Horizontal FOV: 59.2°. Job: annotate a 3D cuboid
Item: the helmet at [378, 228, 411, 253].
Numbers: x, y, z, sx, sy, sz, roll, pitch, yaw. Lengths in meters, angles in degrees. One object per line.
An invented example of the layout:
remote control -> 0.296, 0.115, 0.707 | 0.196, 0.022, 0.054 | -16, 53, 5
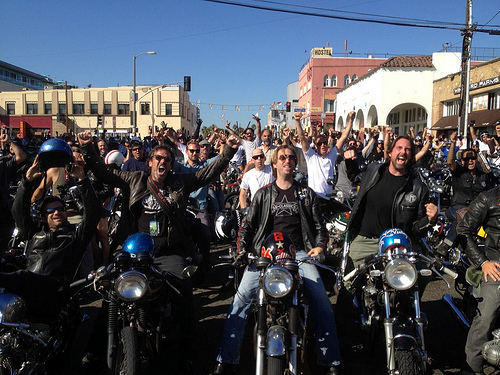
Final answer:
helmet -> 1.463, 0.517, 4.432 | 0.197, 0.250, 0.276 | 6, -3, 1

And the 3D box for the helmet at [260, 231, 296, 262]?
helmet -> 0.268, 0.600, 4.325 | 0.203, 0.319, 0.254 | 5, -26, 0

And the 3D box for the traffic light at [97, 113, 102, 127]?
traffic light -> -23.552, -10.518, 68.995 | 1.212, 1.823, 0.538 | 4, 8, 26

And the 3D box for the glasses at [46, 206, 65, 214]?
glasses -> -2.208, 0.254, 5.001 | 0.194, 0.080, 0.072 | -4, 9, -24

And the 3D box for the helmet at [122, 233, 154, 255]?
helmet -> -1.108, 0.560, 4.349 | 0.185, 0.239, 0.254 | 9, 25, 26

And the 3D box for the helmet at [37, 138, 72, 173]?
helmet -> -2.228, -0.373, 4.970 | 0.474, 0.367, 0.281 | 5, 9, 28

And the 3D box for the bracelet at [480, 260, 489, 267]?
bracelet -> 2.490, 0.806, 4.677 | 0.023, 0.067, 0.059 | 40, 22, 15

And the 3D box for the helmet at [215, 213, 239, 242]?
helmet -> -0.276, 0.587, 6.690 | 0.292, 0.478, 0.423 | 3, 1, 28

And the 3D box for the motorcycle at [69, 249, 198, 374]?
motorcycle -> -1.204, 1.371, 4.873 | 1.196, 1.291, 0.876 | 0, 8, 1
